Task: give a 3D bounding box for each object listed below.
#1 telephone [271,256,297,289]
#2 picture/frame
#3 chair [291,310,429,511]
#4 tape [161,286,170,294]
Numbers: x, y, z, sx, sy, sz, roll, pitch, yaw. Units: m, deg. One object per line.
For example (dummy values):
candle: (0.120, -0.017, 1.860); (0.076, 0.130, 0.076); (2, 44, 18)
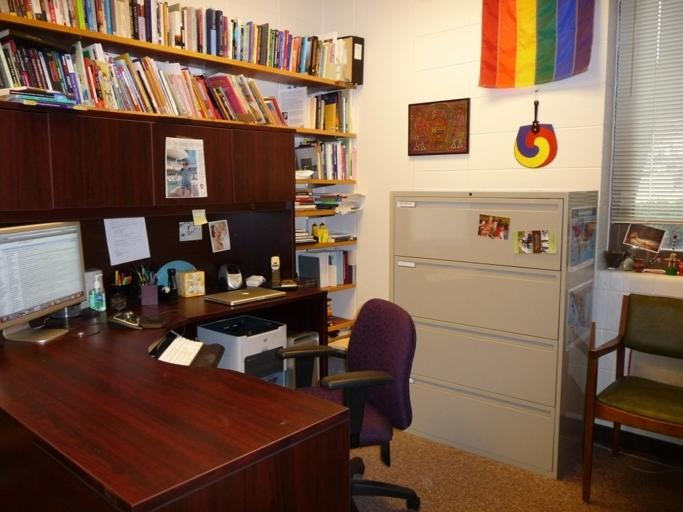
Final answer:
telephone: (-0.423, 0.099, 3.569); (0.217, 0.251, 0.229); (-1, 6, -2)
picture/frame: (0.780, -1.008, 3.841); (0.515, 0.387, 0.023); (4, 6, 39)
chair: (0.121, 0.828, 2.627); (0.669, 1.174, 0.723); (-2, 13, -9)
tape: (-1.132, 0.214, 3.188); (0.040, 0.043, 0.043); (-1, -6, -11)
